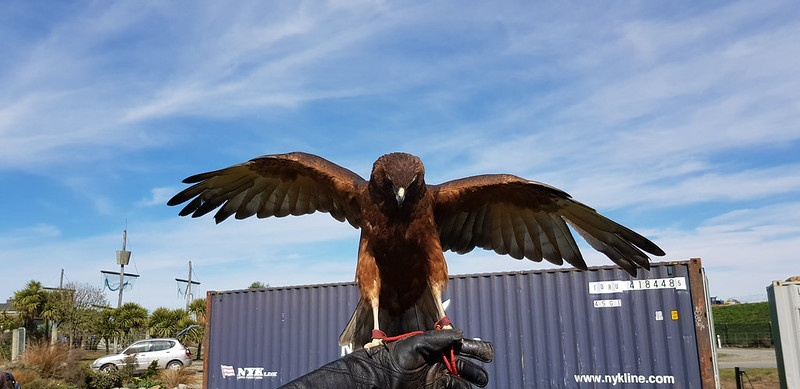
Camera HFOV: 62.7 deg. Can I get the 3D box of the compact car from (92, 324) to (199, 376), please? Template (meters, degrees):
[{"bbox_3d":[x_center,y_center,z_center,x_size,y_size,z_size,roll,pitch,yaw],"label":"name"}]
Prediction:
[{"bbox_3d":[-15.830,9.899,41.331,6.562,2.747,2.467,-3,-1,-4],"label":"compact car"}]
